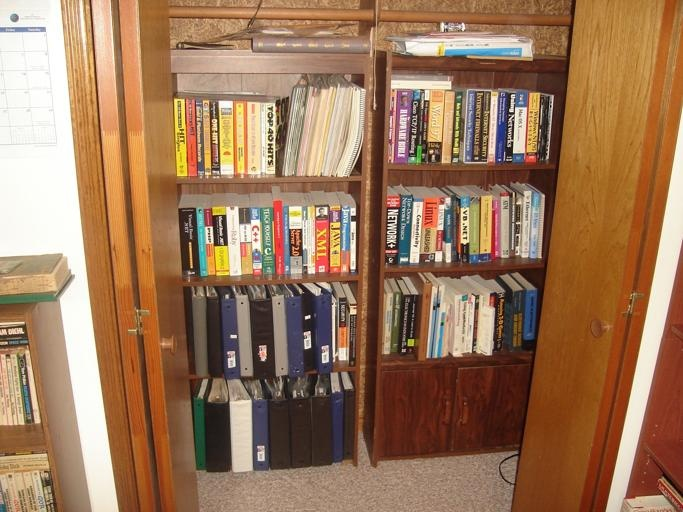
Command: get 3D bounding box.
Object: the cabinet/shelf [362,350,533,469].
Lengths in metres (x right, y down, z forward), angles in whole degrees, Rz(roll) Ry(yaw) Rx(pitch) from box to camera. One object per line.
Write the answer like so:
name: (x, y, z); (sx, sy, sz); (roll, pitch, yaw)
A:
cabinet/shelf: (0.526, 0.738, 2.917); (0.604, 0.422, 0.231); (-1, 17, -3)
